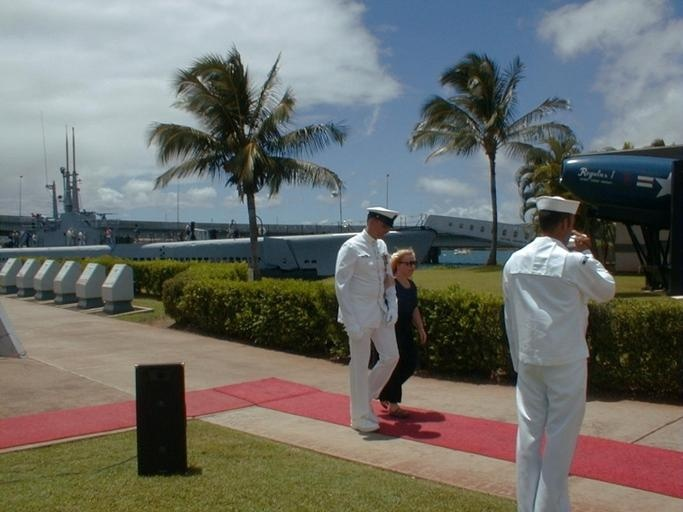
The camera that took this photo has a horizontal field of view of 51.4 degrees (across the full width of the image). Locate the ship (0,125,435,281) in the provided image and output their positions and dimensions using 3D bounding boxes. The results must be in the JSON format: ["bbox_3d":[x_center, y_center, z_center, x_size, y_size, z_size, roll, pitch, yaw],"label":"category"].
[{"bbox_3d":[-8.300,-2.690,38.843,28.224,5.773,14.496,3,6,34],"label":"ship"}]

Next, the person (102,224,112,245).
[{"bbox_3d":[-13.741,-1.167,41.416,0.389,0.562,1.242,-15,-5,-15],"label":"person"}]

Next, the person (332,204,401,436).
[{"bbox_3d":[0.339,0.727,8.553,0.764,2.557,0.599,-4,7,-41],"label":"person"}]

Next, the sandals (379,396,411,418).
[{"bbox_3d":[0.648,1.877,8.927,0.155,0.134,0.432,-4,1,-35],"label":"sandals"}]
